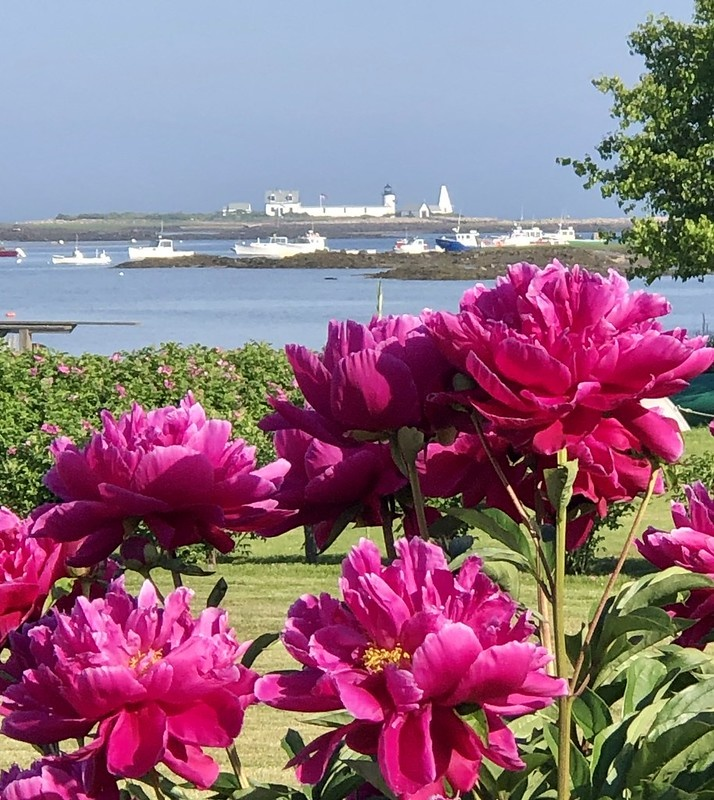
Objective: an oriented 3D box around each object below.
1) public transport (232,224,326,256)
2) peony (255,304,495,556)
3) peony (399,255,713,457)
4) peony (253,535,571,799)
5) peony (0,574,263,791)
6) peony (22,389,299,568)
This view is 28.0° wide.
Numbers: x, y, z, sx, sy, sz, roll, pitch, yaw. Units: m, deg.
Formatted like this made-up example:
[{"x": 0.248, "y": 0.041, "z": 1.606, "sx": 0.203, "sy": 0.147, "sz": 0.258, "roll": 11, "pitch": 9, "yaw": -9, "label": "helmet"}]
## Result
[{"x": -5.178, "y": -10.799, "z": 99.917, "sx": 5.786, "sy": 2.318, "sz": 13.233, "roll": 0, "pitch": 1, "yaw": -2, "label": "public transport"}, {"x": 0.045, "y": 0.012, "z": 1.607, "sx": 0.227, "sy": 0.231, "sz": 0.220, "roll": -22, "pitch": 1, "yaw": -38, "label": "peony"}, {"x": 0.219, "y": -0.051, "z": 1.569, "sx": 0.261, "sy": 0.192, "sz": 0.249, "roll": 3, "pitch": 25, "yaw": -30, "label": "peony"}, {"x": 0.066, "y": 0.259, "z": 1.366, "sx": 0.251, "sy": 0.265, "sz": 0.260, "roll": -1, "pitch": 1, "yaw": -39, "label": "peony"}, {"x": -0.241, "y": 0.289, "z": 1.472, "sx": 0.283, "sy": 0.204, "sz": 0.256, "roll": 0, "pitch": 1, "yaw": -2, "label": "peony"}, {"x": -0.220, "y": 0.077, "z": 1.646, "sx": 0.249, "sy": 0.148, "sz": 0.240, "roll": 10, "pitch": 12, "yaw": 34, "label": "peony"}]
